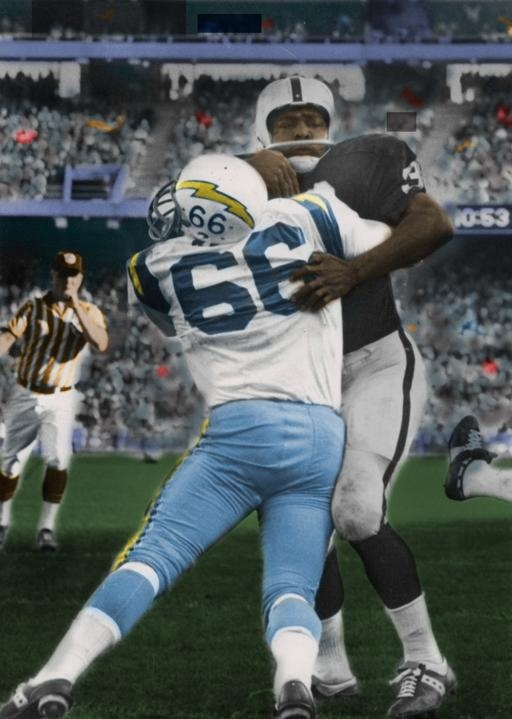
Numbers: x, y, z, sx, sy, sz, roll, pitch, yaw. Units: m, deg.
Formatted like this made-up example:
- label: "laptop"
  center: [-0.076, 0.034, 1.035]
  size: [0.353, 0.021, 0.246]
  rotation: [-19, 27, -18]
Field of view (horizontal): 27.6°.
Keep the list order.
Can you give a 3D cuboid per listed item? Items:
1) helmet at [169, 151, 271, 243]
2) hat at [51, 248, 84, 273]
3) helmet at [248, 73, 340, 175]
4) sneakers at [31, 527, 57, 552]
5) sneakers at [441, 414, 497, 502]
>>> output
- label: "helmet"
  center: [-0.091, -0.396, 2.691]
  size: [0.213, 0.186, 0.239]
  rotation: [-15, 52, -17]
- label: "hat"
  center: [-0.877, -0.456, 4.887]
  size: [0.108, 0.068, 0.143]
  rotation: [4, 1, -14]
- label: "helmet"
  center: [0.138, -0.740, 3.451]
  size: [0.311, 0.360, 0.373]
  rotation: [3, -15, 0]
- label: "sneakers"
  center: [-0.933, 0.810, 4.680]
  size: [0.081, 0.116, 0.109]
  rotation: [-1, 60, -4]
- label: "sneakers"
  center: [0.777, 0.324, 3.607]
  size: [0.162, 0.124, 0.344]
  rotation: [-31, 28, 47]
